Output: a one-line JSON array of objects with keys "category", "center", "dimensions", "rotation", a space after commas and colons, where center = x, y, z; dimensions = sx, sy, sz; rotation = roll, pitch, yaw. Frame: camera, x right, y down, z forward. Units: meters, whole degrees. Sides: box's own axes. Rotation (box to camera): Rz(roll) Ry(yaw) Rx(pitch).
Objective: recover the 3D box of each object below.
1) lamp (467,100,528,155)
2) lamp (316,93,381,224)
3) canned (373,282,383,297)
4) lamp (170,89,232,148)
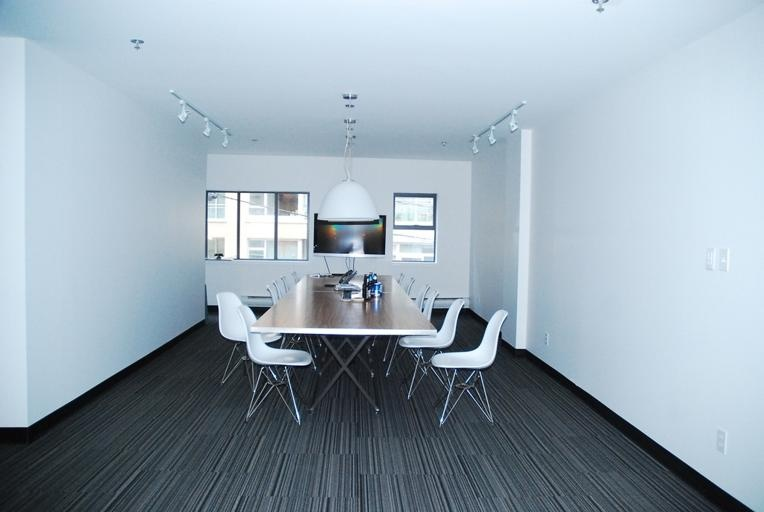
[{"category": "lamp", "center": [1.748, -1.908, 7.204], "dimensions": [0.638, 0.667, 2.083], "rotation": [2, 14, 3]}, {"category": "lamp", "center": [-0.567, -1.342, 7.262], "dimensions": [0.772, 1.977, 2.665], "rotation": [-1, 14, -7]}, {"category": "canned", "center": [-0.033, 0.481, 6.772], "dimensions": [0.144, 0.184, 0.153], "rotation": [-1, 2, -16]}, {"category": "lamp", "center": [-2.643, -2.018, 6.972], "dimensions": [1.174, 0.367, 0.254], "rotation": [34, 30, -27]}]
